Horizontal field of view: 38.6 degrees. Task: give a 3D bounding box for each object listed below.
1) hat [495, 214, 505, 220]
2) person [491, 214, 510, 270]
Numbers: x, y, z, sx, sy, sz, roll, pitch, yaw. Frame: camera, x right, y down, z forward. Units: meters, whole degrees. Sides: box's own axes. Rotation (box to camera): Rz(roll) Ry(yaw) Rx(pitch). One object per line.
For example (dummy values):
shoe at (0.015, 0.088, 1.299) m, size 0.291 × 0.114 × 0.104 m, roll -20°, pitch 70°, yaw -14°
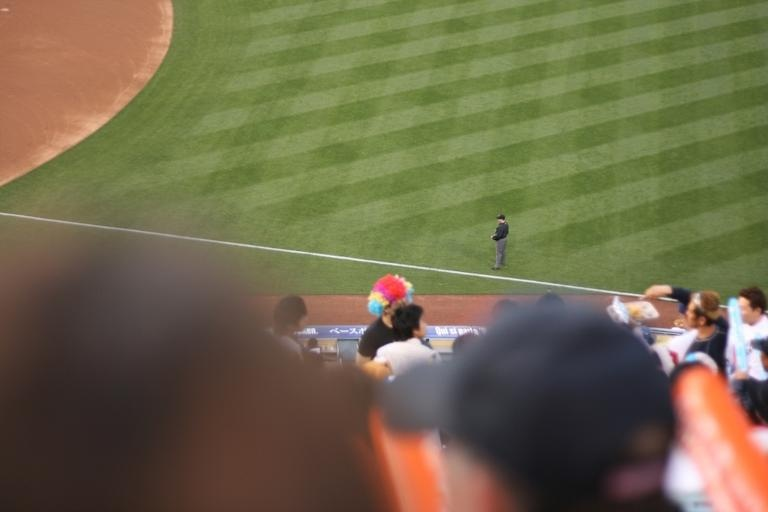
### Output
hat at (2.219, -0.766, 21.162) m, size 0.147 × 0.069 × 0.193 m, roll 2°, pitch 3°, yaw 5°
person at (2.201, -0.298, 20.958) m, size 0.297 × 1.036 × 0.649 m, roll 8°, pitch 14°, yaw 6°
